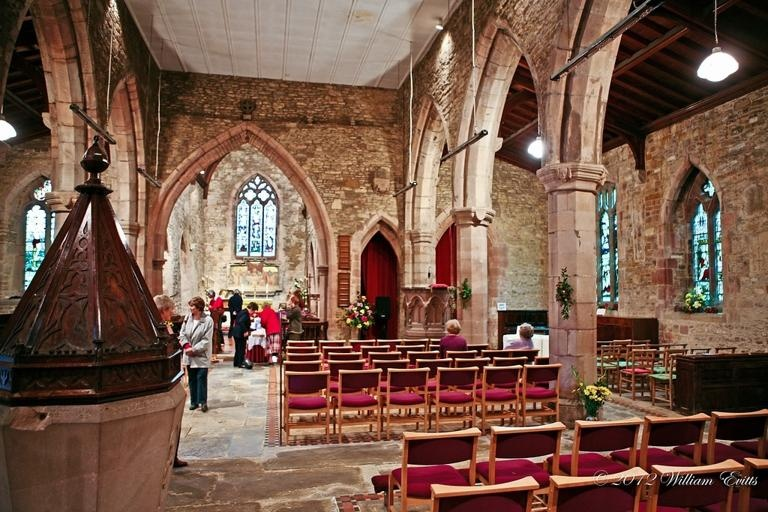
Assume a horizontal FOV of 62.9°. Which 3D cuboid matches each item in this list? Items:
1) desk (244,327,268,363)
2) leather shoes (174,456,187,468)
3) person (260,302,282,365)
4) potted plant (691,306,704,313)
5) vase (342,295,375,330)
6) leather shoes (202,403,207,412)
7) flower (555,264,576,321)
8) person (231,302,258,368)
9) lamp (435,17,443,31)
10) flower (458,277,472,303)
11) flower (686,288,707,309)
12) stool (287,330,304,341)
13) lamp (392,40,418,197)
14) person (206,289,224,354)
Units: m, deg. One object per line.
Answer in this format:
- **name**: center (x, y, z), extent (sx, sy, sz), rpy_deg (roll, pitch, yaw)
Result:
- **desk**: center (-2.906, 2.108, 14.372), extent (0.481, 0.632, 0.498), rpy_deg (4, -12, -30)
- **leather shoes**: center (-2.358, 2.342, 7.237), extent (0.160, 0.087, 0.252), rpy_deg (-5, 3, -20)
- **person**: center (-2.431, 1.670, 13.494), extent (0.397, 1.411, 0.779), rpy_deg (-5, 4, -11)
- **potted plant**: center (6.895, 1.175, 13.793), extent (0.246, 0.125, 0.094), rpy_deg (-2, 4, 32)
- **vase**: center (-0.601, 1.481, 16.406), extent (0.832, 0.915, 0.875), rpy_deg (-3, -5, 45)
- **leather shoes**: center (-2.683, 2.250, 9.346), extent (0.074, 0.090, 0.215), rpy_deg (2, -12, -23)
- **flower**: center (2.697, 0.559, 9.354), extent (0.271, 0.774, 0.150), rpy_deg (-3, 4, 20)
- **person**: center (-3.259, 1.711, 14.527), extent (0.549, 1.260, 2.796), rpy_deg (-5, 3, -12)
- **lamp**: center (1.261, -5.215, 14.302), extent (0.147, 0.161, 0.146), rpy_deg (2, -2, -10)
- **flower**: center (1.625, 0.707, 12.650), extent (0.297, 0.506, 0.092), rpy_deg (-2, 4, 32)
- **flower**: center (6.929, 0.956, 13.925), extent (0.421, 0.380, 0.466), rpy_deg (3, -1, 31)
- **stool**: center (-1.838, 1.634, 12.963), extent (0.250, 0.415, 0.318), rpy_deg (0, 1, -28)
- **lamp**: center (0.608, -3.373, 16.684), extent (0.558, 3.460, 1.739), rpy_deg (-5, 4, -7)
- **person**: center (-4.184, 1.601, 15.428), extent (0.488, 1.116, 1.289), rpy_deg (12, 4, -22)
